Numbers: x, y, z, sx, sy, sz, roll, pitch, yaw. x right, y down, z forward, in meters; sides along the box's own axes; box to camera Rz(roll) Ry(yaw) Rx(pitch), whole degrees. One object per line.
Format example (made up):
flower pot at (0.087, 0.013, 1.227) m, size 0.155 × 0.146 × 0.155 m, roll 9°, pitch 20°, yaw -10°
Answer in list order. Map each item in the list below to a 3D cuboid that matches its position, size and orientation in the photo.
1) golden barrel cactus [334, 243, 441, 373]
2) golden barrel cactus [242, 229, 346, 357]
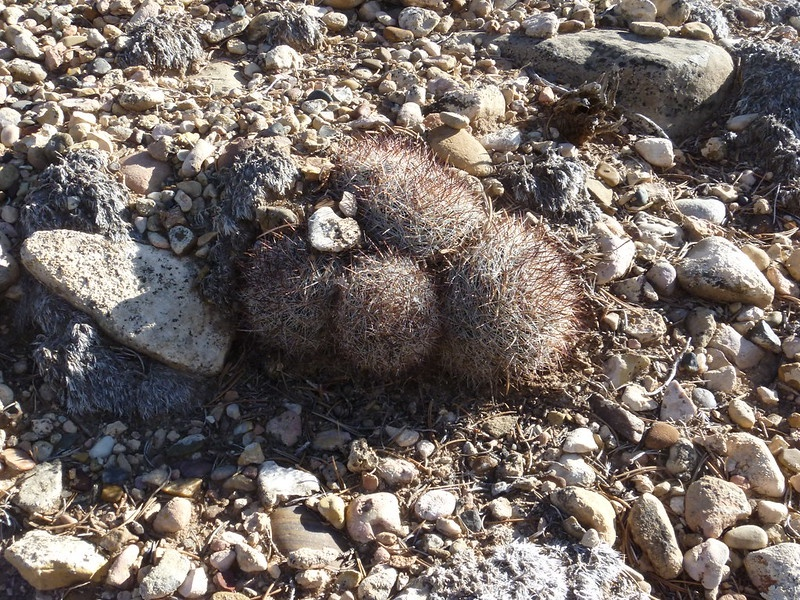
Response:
golden barrel cactus at (-0.087, 0.084, 5.795) m, size 0.684 × 0.516 × 0.711 m, roll 1°, pitch 72°, yaw -4°
golden barrel cactus at (-0.683, -0.090, 6.034) m, size 0.758 × 0.754 × 0.732 m, roll 4°, pitch 105°, yaw -3°
